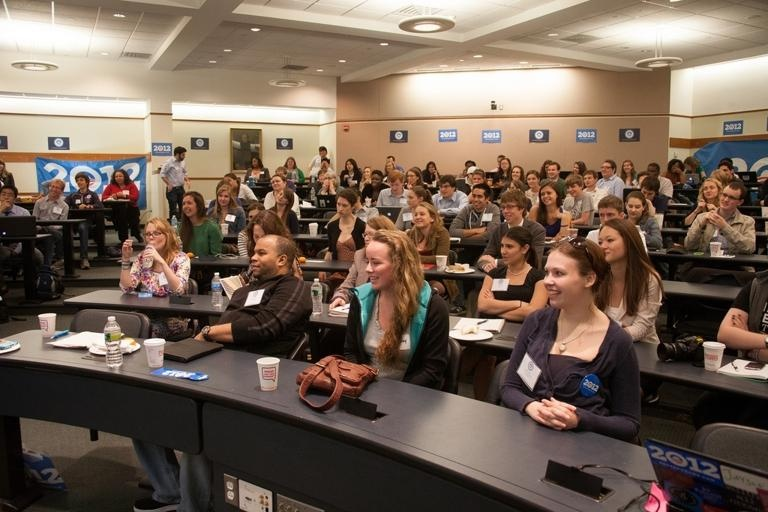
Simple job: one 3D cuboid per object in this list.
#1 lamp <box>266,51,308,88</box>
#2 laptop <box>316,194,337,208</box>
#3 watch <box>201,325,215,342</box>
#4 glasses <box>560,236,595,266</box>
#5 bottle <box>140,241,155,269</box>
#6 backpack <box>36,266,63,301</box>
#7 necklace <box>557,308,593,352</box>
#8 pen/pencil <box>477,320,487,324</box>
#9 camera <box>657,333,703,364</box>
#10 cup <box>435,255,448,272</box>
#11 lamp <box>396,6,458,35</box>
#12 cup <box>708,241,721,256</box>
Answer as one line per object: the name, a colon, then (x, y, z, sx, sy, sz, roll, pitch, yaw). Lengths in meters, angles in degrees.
lamp: (-2.717, -4.986, 13.915, 1.024, 0.988, 1.001, -1, -5, -1)
laptop: (-1.104, -1.048, 9.504, 0.355, 0.217, 0.246, 3, 12, 16)
watch: (-1.213, 0.541, 3.386, 0.073, 0.114, 0.115, 4, 11, 8)
glasses: (1.035, -0.040, 2.603, 0.044, 0.141, 0.142, -30, 25, -35)
bottle: (-2.097, -0.008, 4.376, 0.172, 0.224, 0.098, 7, 4, 6)
backpack: (-4.597, 0.380, 6.799, 0.368, 0.450, 0.427, 2, 2, 4)
necklace: (0.998, 0.387, 2.572, 0.193, 0.246, 0.138, 8, -5, 28)
pen/pencil: (0.734, 0.495, 3.716, 0.026, 0.014, 0.197, 11, 9, 23)
camera: (1.819, 0.565, 3.039, 0.252, 0.109, 0.144, 3, 7, -27)
cup: (0.625, 0.073, 5.377, 0.150, 0.147, 0.146, 1, -2, 0)
lamp: (0.751, -4.147, 8.824, 0.848, 0.291, 0.830, -1, 8, -7)
cup: (3.749, -0.085, 5.627, 0.145, 0.140, 0.140, 0, 3, 0)
